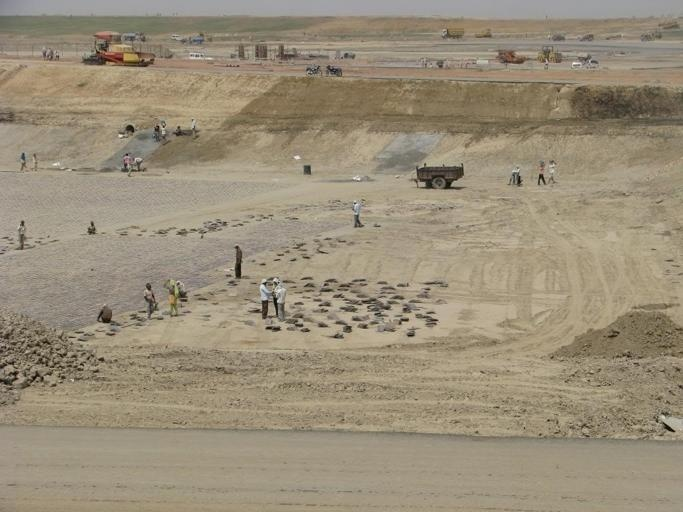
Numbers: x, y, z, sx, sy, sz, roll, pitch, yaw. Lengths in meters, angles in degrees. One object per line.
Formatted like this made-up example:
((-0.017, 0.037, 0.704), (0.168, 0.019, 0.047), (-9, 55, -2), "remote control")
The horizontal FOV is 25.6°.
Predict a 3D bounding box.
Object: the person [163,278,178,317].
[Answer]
((-8.634, 2.054, 75.896), (0.626, 1.780, 1.064), (-1, 15, -6), "person")

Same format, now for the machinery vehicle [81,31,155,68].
((-20.539, -18.621, 134.550), (5.900, 1.905, 3.340), (5, 20, 7), "machinery vehicle")
